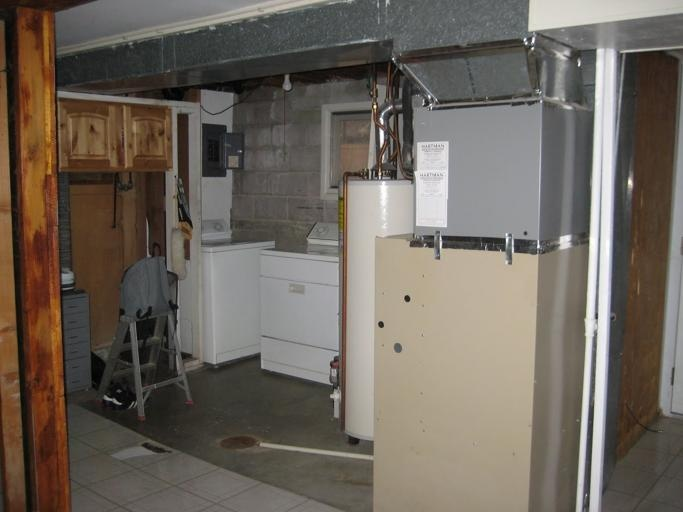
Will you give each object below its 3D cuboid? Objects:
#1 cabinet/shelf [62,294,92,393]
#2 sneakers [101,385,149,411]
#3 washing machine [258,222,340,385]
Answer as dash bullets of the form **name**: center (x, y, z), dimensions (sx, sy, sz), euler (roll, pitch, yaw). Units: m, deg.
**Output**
- **cabinet/shelf**: center (-2.217, 0.749, 5.110), dimensions (0.232, 0.836, 0.128), euler (-9, 13, -42)
- **sneakers**: center (-1.754, 1.144, 4.923), dimensions (0.336, 0.146, 0.157), euler (3, -24, -19)
- **washing machine**: center (-0.205, 0.404, 5.732), dimensions (0.938, 1.376, 0.693), euler (5, 9, 37)
